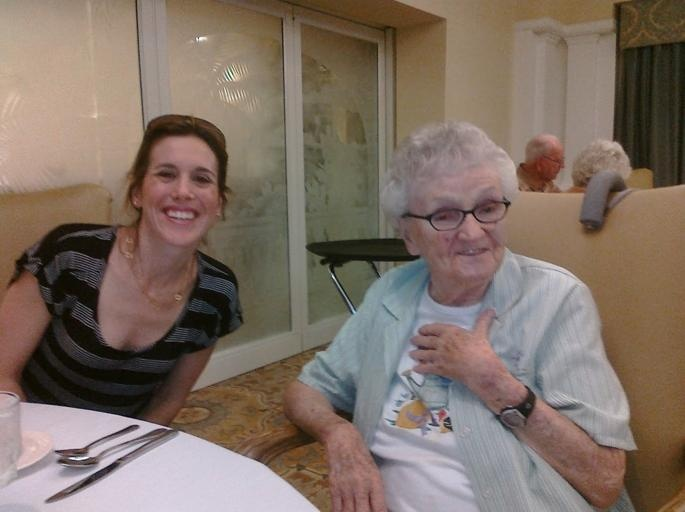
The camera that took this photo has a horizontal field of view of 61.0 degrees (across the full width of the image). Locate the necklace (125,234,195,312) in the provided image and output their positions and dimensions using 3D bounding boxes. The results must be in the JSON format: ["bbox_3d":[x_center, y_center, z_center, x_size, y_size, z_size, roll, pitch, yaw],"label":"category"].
[{"bbox_3d":[-0.611,0.022,1.860,0.173,0.267,0.066,0,9,6],"label":"necklace"}]

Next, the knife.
[{"bbox_3d":[-0.476,0.435,1.258,0.076,0.021,0.342,15,22,26],"label":"knife"}]

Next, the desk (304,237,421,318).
[{"bbox_3d":[0.114,-0.022,2.826,0.502,0.404,0.418,-4,4,-27],"label":"desk"}]

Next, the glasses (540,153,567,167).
[{"bbox_3d":[1.617,-0.754,4.466,0.133,0.110,0.106,8,25,25],"label":"glasses"}]
